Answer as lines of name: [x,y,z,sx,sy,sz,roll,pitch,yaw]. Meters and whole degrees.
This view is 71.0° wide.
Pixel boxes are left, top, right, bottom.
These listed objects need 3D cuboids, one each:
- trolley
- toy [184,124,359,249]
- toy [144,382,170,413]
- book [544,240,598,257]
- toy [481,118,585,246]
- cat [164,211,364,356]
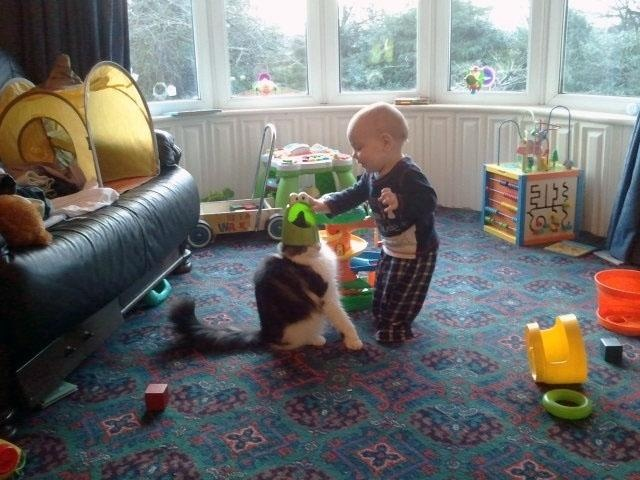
trolley: [-0.633,-0.365,3.125,0.688,0.684,0.476,-7,17,-14]
toy: [-0.300,-0.369,3.319,1.280,0.761,0.722,-6,26,-5]
toy: [-0.562,0.530,1.523,0.089,0.077,0.083,-1,5,-5]
book: [1.488,0.058,2.674,0.238,0.025,0.205,-10,22,-23]
toy: [1.350,-0.343,2.871,0.451,0.657,0.491,-9,22,-18]
cat: [-0.271,0.214,2.046,0.647,0.491,0.254,-2,12,-6]
